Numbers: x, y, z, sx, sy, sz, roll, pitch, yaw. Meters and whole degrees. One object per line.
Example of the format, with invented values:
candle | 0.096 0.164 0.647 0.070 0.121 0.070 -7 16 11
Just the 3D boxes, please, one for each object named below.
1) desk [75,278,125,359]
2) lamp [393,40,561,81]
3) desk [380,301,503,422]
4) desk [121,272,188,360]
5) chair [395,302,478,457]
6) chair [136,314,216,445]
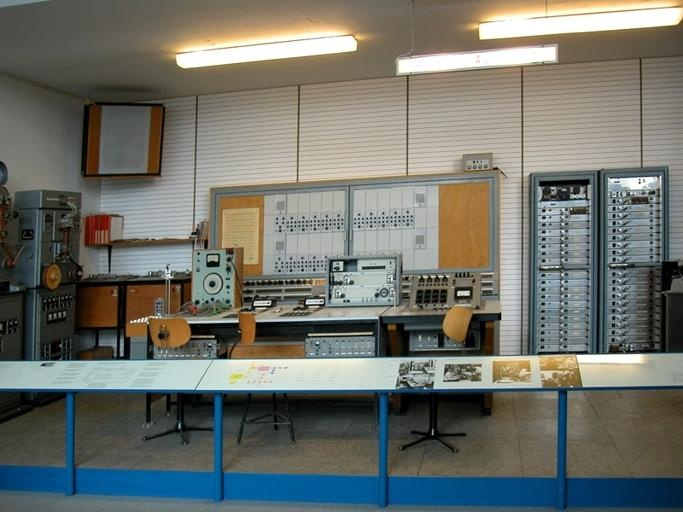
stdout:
desk | -3.535 0.958 9.426 0.793 0.968 0.753 1 -3 -27
lamp | 1.396 -2.054 6.519 1.553 0.196 0.371 2 13 20
desk | 1.134 1.172 7.110 1.456 1.068 1.342 -1 -1 11
desk | -2.789 0.825 9.305 0.883 0.970 0.641 -1 7 -22
chair | 1.035 1.203 6.559 0.650 1.352 1.271 0 13 16
chair | -1.760 1.284 6.797 0.880 1.293 0.870 -3 13 1
